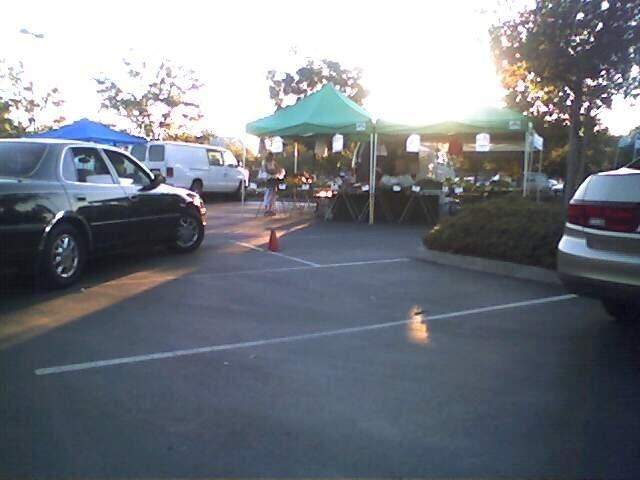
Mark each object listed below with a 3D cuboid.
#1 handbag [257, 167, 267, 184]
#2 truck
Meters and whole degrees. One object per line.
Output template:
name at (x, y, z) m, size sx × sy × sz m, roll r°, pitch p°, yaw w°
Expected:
handbag at (-1.970, -2.158, 16.779) m, size 0.352 × 0.475 × 0.475 m, roll 2°, pitch 27°, yaw -8°
truck at (-5.232, -3.128, 21.451) m, size 2.339 × 2.170 × 5.111 m, roll 5°, pitch 9°, yaw 31°
